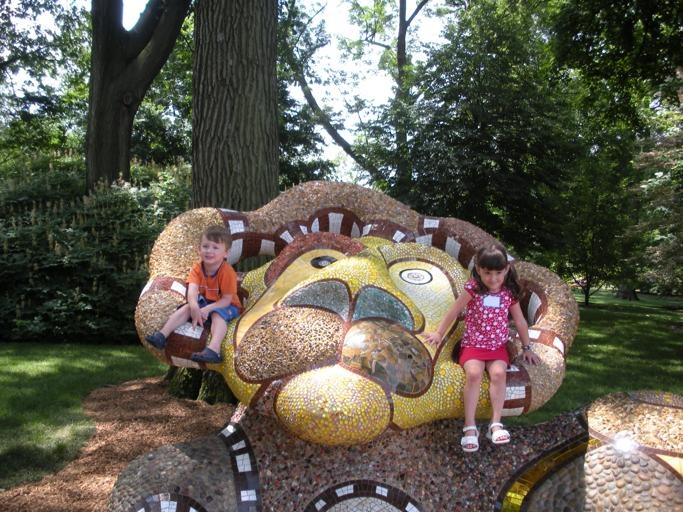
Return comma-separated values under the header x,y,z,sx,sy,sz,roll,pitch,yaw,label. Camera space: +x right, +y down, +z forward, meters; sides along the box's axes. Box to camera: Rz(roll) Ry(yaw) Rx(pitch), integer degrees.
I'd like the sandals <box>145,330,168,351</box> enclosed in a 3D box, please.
x,y,z,sx,sy,sz,roll,pitch,yaw,label
-1.381,0.647,3.666,0.164,0.121,0.096,32,-11,33,sandals

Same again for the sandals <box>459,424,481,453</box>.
x,y,z,sx,sy,sz,roll,pitch,yaw,label
0.930,1.357,3.562,0.123,0.147,0.379,-2,-13,7,sandals

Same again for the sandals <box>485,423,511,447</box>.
x,y,z,sx,sy,sz,roll,pitch,yaw,label
1.136,1.307,3.504,0.137,0.154,0.347,-1,-11,0,sandals

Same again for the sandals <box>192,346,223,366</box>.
x,y,z,sx,sy,sz,roll,pitch,yaw,label
-0.987,0.751,3.551,0.176,0.093,0.109,5,-9,5,sandals

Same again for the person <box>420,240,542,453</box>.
x,y,z,sx,sy,sz,roll,pitch,yaw,label
1.091,0.662,3.695,0.594,1.501,0.838,2,3,44,person

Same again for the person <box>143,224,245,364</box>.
x,y,z,sx,sy,sz,roll,pitch,yaw,label
-1.129,0.273,3.936,0.614,1.041,0.815,0,2,3,person
